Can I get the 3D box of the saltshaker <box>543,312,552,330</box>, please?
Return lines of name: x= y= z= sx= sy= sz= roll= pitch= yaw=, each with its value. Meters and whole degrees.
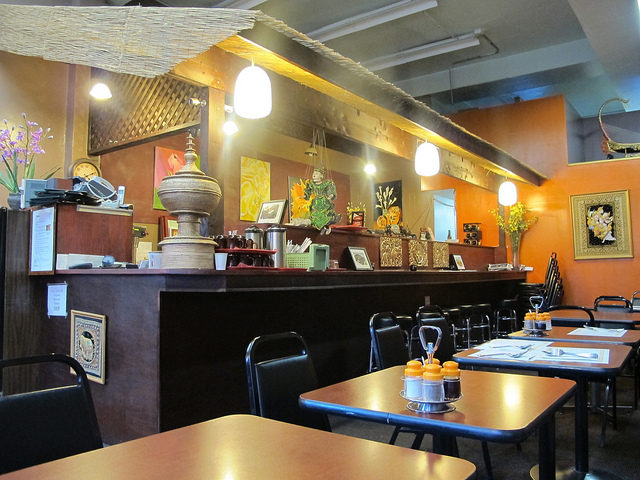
saltshaker: x=1.910 y=0.685 z=4.086 sx=0.057 sy=0.134 sz=0.273 roll=0 pitch=0 yaw=24

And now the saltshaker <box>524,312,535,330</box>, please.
saltshaker: x=1.739 y=0.680 z=4.034 sx=0.065 sy=0.141 sz=0.145 roll=0 pitch=0 yaw=17

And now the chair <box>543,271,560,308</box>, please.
chair: x=3.997 y=0.879 z=8.372 sx=0.135 sy=0.685 sz=0.119 roll=29 pitch=-22 yaw=0

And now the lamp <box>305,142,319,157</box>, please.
lamp: x=-0.094 y=-1.329 z=7.068 sx=0.199 sy=0.214 sz=0.210 roll=2 pitch=-9 yaw=3

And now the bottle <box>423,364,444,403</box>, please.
bottle: x=0.528 y=0.675 z=2.248 sx=0.112 sy=0.179 sz=0.109 roll=0 pitch=0 yaw=0

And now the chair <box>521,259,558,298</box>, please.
chair: x=4.058 y=0.675 z=8.586 sx=0.750 sy=0.628 sz=0.564 roll=0 pitch=0 yaw=-17

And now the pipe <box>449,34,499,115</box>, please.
pipe: x=2.882 y=-3.331 z=9.335 sx=1.281 sy=1.279 sz=0.069 roll=7 pitch=39 yaw=32

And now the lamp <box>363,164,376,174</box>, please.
lamp: x=0.910 y=-1.309 z=9.001 sx=0.187 sy=0.138 sz=0.229 roll=1 pitch=3 yaw=26

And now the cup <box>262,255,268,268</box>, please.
cup: x=-0.414 y=0.161 z=3.729 sx=0.044 sy=0.085 sz=0.093 roll=0 pitch=0 yaw=-1

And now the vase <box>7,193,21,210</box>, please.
vase: x=-2.876 y=-0.368 z=4.587 sx=0.162 sy=0.137 sz=0.049 roll=0 pitch=0 yaw=37

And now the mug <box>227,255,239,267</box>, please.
mug: x=-0.642 y=0.155 z=3.613 sx=0.079 sy=0.089 sz=0.081 roll=-2 pitch=-4 yaw=34

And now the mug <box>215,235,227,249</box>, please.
mug: x=-0.752 y=0.020 z=3.758 sx=0.076 sy=0.077 sz=0.094 roll=0 pitch=-7 yaw=1

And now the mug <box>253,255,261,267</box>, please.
mug: x=-0.464 y=0.157 z=3.664 sx=0.064 sy=0.081 sz=0.054 roll=0 pitch=0 yaw=-27

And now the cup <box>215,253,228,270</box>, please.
cup: x=-0.680 y=0.149 z=3.361 sx=0.102 sy=0.108 sz=0.101 roll=-1 pitch=-9 yaw=0

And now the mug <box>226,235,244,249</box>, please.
mug: x=-0.648 y=0.015 z=3.741 sx=0.133 sy=0.106 sz=0.275 roll=0 pitch=0 yaw=-8

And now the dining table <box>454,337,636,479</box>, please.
dining table: x=1.581 y=1.182 z=3.386 sx=1.118 sy=0.967 sz=1.130 roll=0 pitch=4 yaw=36

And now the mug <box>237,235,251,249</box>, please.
mug: x=-0.573 y=0.019 z=3.787 sx=0.109 sy=0.108 sz=0.068 roll=1 pitch=-1 yaw=3

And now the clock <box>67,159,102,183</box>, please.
clock: x=-3.121 y=-0.956 z=6.511 sx=0.423 sy=0.267 sz=0.263 roll=0 pitch=0 yaw=-32

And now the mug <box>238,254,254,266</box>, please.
mug: x=-0.551 y=0.141 z=3.641 sx=0.089 sy=0.157 sz=0.087 roll=6 pitch=1 yaw=-23

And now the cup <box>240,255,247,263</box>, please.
cup: x=-0.566 y=0.143 z=3.622 sx=0.051 sy=0.055 sz=0.023 roll=0 pitch=0 yaw=-6

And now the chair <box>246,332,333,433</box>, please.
chair: x=-0.181 y=0.773 z=2.600 sx=0.441 sy=0.511 sz=0.243 roll=0 pitch=0 yaw=-20

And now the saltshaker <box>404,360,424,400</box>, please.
saltshaker: x=0.446 y=0.660 z=2.285 sx=0.087 sy=0.158 sz=0.134 roll=0 pitch=0 yaw=11

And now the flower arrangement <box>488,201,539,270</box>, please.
flower arrangement: x=3.774 y=-0.003 z=9.357 sx=0.793 sy=1.121 sz=0.851 roll=0 pitch=-7 yaw=23

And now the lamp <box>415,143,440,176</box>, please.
lamp: x=1.156 y=-0.885 z=5.225 sx=0.254 sy=0.349 sz=0.203 roll=0 pitch=0 yaw=10

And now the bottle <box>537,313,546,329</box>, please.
bottle: x=1.809 y=0.673 z=3.964 sx=0.084 sy=0.094 sz=0.085 roll=3 pitch=6 yaw=30

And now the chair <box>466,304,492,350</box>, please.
chair: x=2.328 y=1.326 z=7.133 sx=0.470 sy=0.567 sz=0.478 roll=-5 pitch=-6 yaw=10
